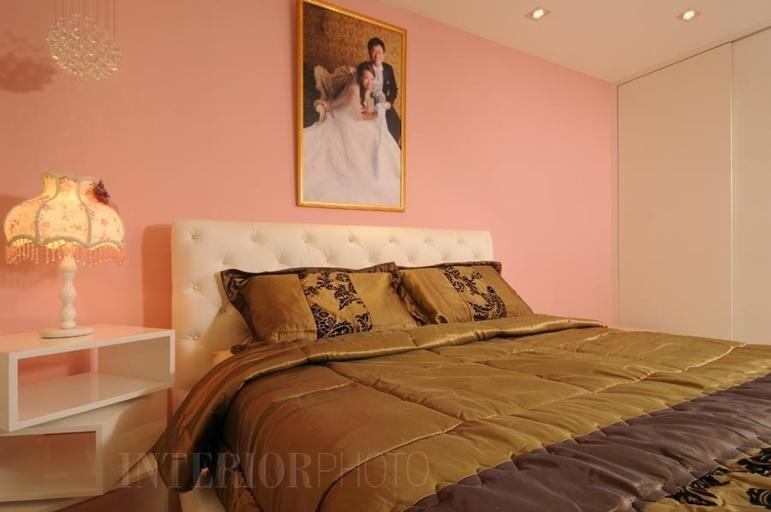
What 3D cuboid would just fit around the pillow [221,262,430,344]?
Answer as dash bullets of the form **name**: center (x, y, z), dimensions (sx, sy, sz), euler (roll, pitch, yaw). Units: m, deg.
- **pillow**: center (-0.351, 0.237, 3.077), dimensions (1.016, 0.433, 0.428), euler (-6, -1, -22)
